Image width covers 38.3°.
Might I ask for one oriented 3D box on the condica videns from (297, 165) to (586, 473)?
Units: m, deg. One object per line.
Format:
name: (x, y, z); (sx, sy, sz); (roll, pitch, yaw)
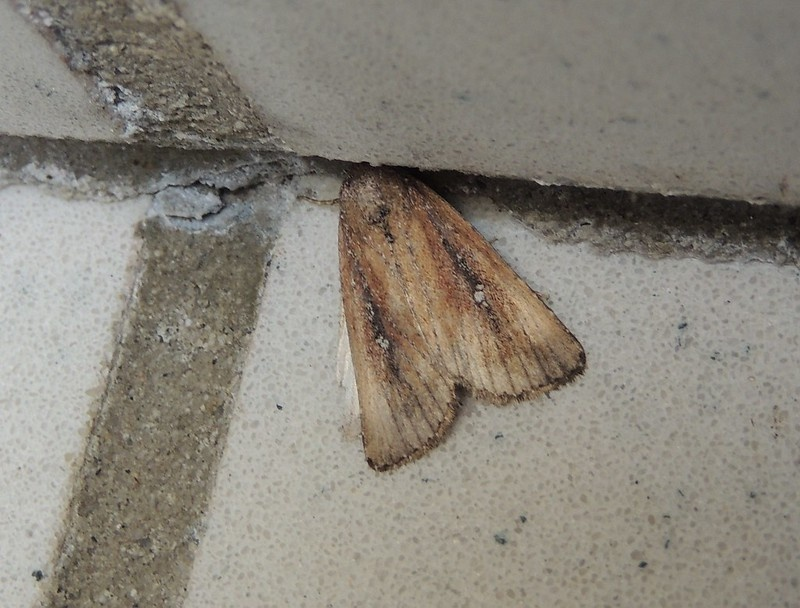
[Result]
condica videns: (0.073, 0.020, 2.489); (0.496, 0.171, 0.625); (-28, 91, 9)
